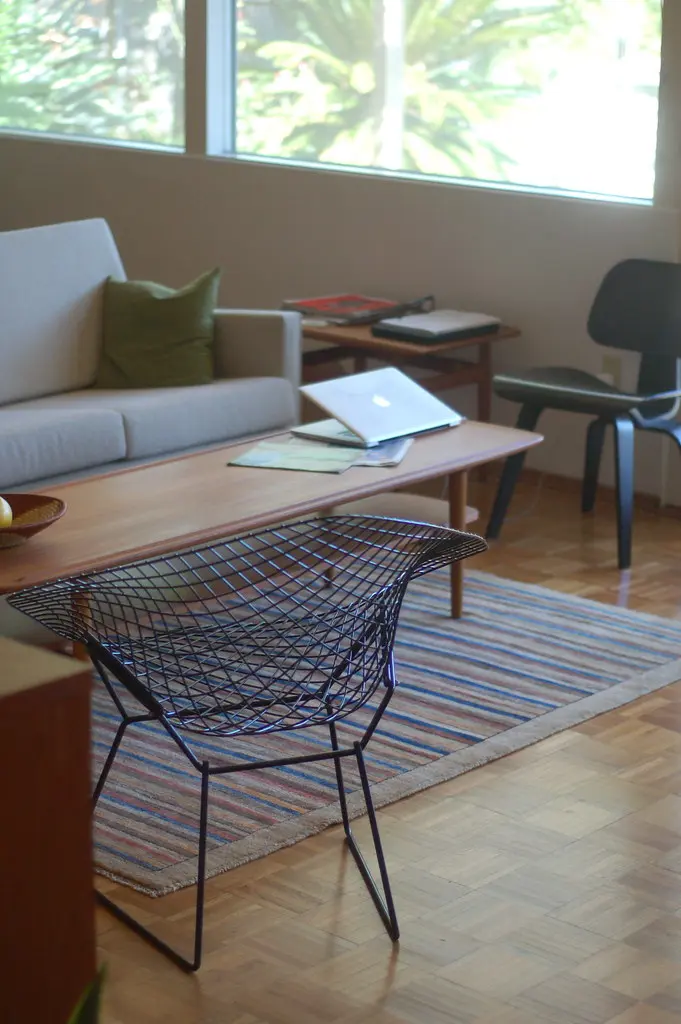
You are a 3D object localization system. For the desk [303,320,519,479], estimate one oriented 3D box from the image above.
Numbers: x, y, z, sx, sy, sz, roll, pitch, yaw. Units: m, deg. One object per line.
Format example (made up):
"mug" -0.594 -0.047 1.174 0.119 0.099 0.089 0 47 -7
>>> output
"desk" 0.253 -0.724 4.157 0.799 0.713 0.980 -14 21 -42

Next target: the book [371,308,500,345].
"book" 0.419 -0.835 4.023 0.466 0.130 0.376 -11 17 -39
